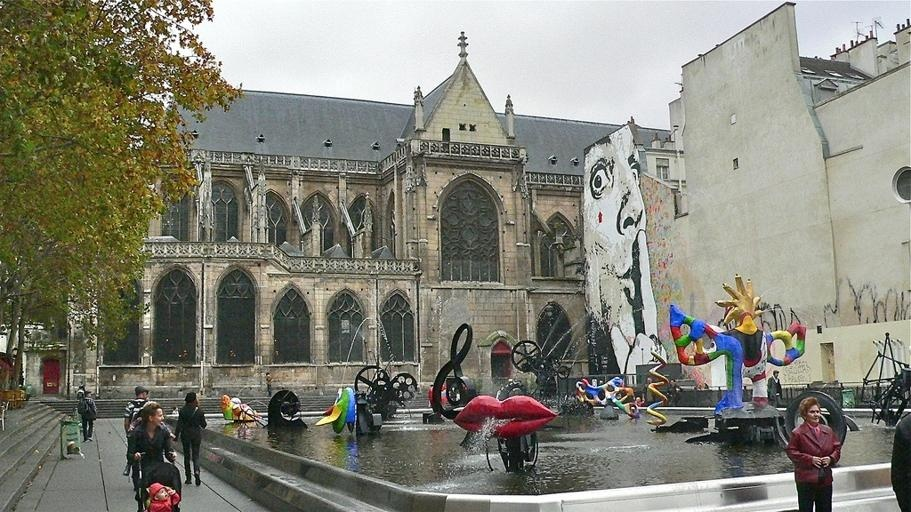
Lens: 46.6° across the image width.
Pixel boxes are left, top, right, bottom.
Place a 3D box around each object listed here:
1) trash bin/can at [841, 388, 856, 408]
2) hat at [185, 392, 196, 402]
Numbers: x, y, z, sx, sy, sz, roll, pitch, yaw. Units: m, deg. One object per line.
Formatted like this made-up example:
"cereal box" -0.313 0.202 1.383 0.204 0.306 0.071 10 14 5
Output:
"trash bin/can" 19.317 6.980 51.974 0.460 0.928 1.045 -4 -10 24
"hat" -9.600 5.111 38.270 0.353 0.359 0.539 2 -9 -14
